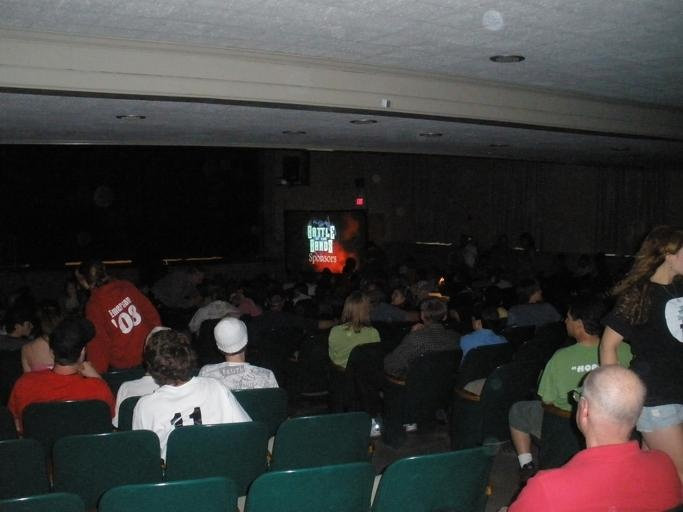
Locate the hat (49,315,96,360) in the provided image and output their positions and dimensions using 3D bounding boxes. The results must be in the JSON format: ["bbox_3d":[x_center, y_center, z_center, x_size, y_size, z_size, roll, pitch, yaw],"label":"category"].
[{"bbox_3d":[-1.818,0.551,3.740,0.241,0.300,0.296,5,18,-26],"label":"hat"}]

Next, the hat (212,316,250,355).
[{"bbox_3d":[-0.732,0.485,3.716,0.220,0.169,0.273,-7,47,2],"label":"hat"}]
